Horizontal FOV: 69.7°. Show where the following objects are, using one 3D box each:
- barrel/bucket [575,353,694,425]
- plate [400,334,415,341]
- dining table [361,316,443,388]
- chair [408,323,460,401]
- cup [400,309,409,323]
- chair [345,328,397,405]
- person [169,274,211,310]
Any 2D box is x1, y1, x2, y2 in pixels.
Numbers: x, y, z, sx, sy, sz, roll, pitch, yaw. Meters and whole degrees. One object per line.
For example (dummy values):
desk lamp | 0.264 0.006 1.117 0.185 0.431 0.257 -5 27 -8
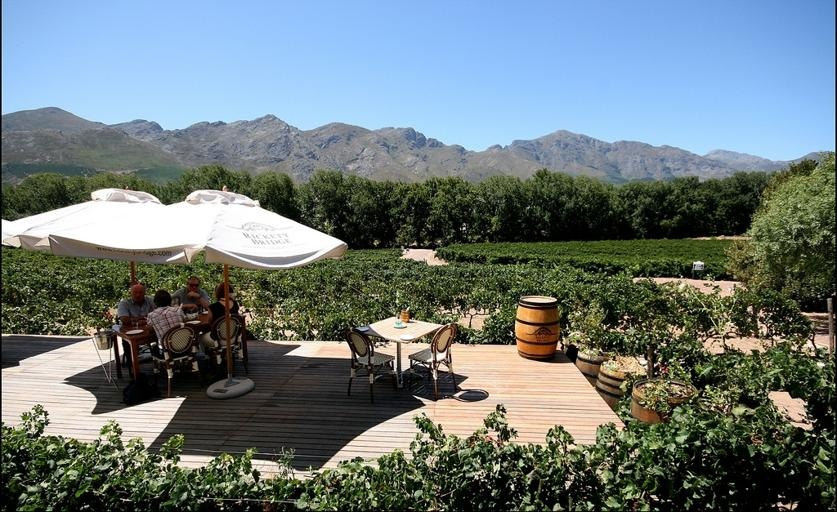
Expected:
barrel/bucket | 4.119 2.461 11.358 1.322 1.233 1.306 -3 -6 0
plate | -0.232 1.571 11.552 0.254 0.075 0.244 -4 7 -33
dining table | -0.294 1.900 12.371 1.422 1.283 1.414 11 25 30
chair | 0.320 2.021 12.061 0.883 1.409 0.721 4 10 43
cup | -0.255 1.204 12.108 0.237 0.251 0.232 0 -7 0
chair | -0.955 2.054 11.966 0.917 1.336 1.230 0 6 6
person | -4.917 0.799 13.013 0.827 1.049 0.751 -3 -2 -40
